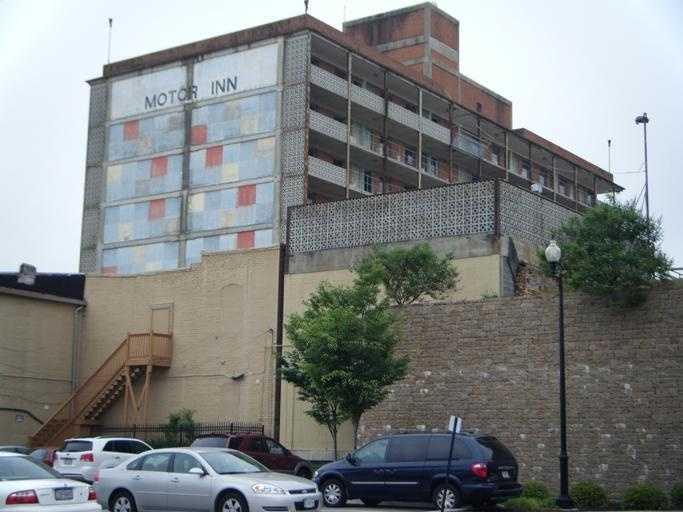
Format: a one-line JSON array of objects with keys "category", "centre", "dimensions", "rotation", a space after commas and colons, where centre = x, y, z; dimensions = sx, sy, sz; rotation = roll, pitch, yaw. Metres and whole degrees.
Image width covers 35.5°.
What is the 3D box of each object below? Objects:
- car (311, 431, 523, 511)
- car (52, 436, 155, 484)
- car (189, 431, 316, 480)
[{"category": "car", "centre": [2.535, 6.513, 33.314], "dimensions": [5.161, 2.100, 2.743], "rotation": [-3, -11, 28]}, {"category": "car", "centre": [-8.127, 6.903, 36.730], "dimensions": [1.440, 1.247, 3.150], "rotation": [-4, -3, 43]}, {"category": "car", "centre": [-3.123, 7.108, 38.479], "dimensions": [3.755, 1.844, 1.905], "rotation": [2, -4, -20]}]
